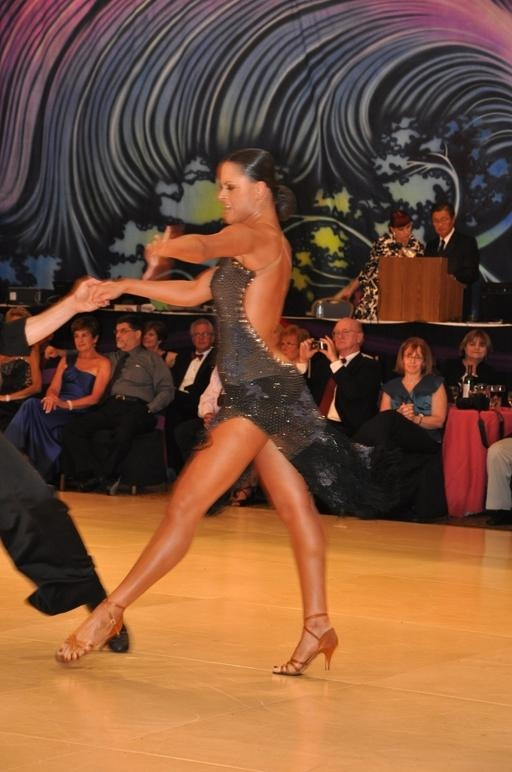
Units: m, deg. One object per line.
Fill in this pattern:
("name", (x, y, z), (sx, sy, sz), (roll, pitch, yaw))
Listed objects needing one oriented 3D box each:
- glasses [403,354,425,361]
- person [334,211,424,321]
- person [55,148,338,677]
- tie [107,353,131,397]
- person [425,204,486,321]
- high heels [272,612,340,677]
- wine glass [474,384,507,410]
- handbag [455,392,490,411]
("glasses", (1.255, -0.218, 5.284), (0.152, 0.072, 0.057), (0, 35, 12))
("person", (1.350, -1.163, 6.932), (0.945, 0.396, 1.430), (6, 57, 11))
("person", (-0.201, 0.135, 2.058), (0.808, 1.490, 1.054), (-5, 34, 7))
("tie", (-1.317, -0.115, 6.415), (0.151, 0.353, 0.293), (17, -6, -22))
("person", (2.064, -1.158, 7.004), (0.552, 1.305, 1.676), (3, 34, 18))
("high heels", (0.137, 0.753, 1.948), (0.220, 0.092, 0.156), (2, 69, -16))
("wine glass", (1.914, 0.089, 5.367), (0.237, 0.203, 0.240), (1, -2, 7))
("handbag", (1.726, 0.134, 5.253), (0.223, 0.082, 0.132), (-1, -1, 9))
